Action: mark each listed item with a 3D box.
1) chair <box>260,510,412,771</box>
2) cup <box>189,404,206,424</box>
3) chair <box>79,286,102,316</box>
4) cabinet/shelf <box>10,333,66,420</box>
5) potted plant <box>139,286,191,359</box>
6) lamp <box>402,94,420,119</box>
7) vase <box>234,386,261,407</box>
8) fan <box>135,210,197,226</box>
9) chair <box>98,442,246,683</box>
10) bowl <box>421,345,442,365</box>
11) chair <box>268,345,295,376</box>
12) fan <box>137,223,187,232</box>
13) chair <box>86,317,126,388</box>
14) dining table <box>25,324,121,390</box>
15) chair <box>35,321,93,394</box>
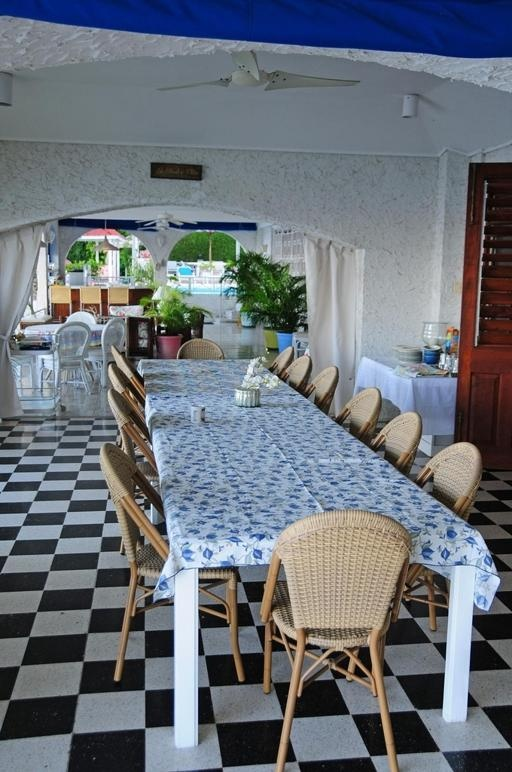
[{"bbox_3d":[0.228,0.710,1.696,0.424,0.902,0.615,3,8,2],"label":"chair"},{"bbox_3d":[-0.327,0.160,3.022,0.088,0.086,0.078,8,14,26],"label":"cup"},{"bbox_3d":[-4.295,-2.189,14.278,0.492,0.739,1.943,0,9,-18],"label":"chair"},{"bbox_3d":[-2.633,-0.105,6.647,0.480,0.621,0.883,-5,20,-16],"label":"cabinet/shelf"},{"bbox_3d":[-1.615,-1.090,10.467,0.772,1.185,0.730,-6,6,-39],"label":"potted plant"},{"bbox_3d":[1.414,-2.609,5.159,0.182,0.209,0.182,-5,20,-15],"label":"lamp"},{"bbox_3d":[-0.053,0.061,3.431,0.125,0.093,0.125,9,12,34],"label":"vase"},{"bbox_3d":[-2.473,-4.690,15.323,1.161,0.304,1.155,-17,23,-40],"label":"fan"},{"bbox_3d":[-0.338,0.622,2.105,0.486,0.762,0.448,1,2,-4],"label":"chair"},{"bbox_3d":[1.654,-0.275,5.193,0.166,0.181,0.167,2,27,-1],"label":"bowl"},{"bbox_3d":[0.215,-0.235,5.193,0.268,0.354,0.218,-4,14,-16],"label":"chair"},{"bbox_3d":[-2.742,-4.576,15.925,1.148,0.315,1.189,-12,18,-39],"label":"fan"},{"bbox_3d":[-2.139,-0.547,7.929,0.445,0.742,0.404,9,8,-24],"label":"chair"},{"bbox_3d":[-2.361,-0.354,7.024,0.655,0.997,0.690,-3,53,-25],"label":"dining table"},{"bbox_3d":[-2.449,-0.349,7.120,0.538,0.989,0.636,-6,11,-40],"label":"chair"}]
